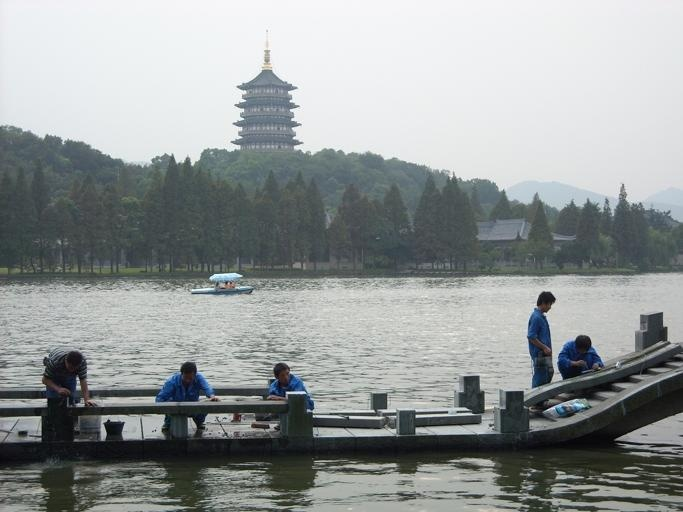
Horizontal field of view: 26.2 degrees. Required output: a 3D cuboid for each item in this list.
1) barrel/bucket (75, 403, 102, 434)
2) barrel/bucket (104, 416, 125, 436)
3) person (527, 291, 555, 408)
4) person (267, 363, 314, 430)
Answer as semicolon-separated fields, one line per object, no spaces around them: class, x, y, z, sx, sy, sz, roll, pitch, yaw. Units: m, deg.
barrel/bucket;-8.356;5.350;48.650;0.963;1.264;0.930;1;-2;0
barrel/bucket;-7.505;5.631;48.431;0.615;0.414;0.654;1;8;0
person;6.794;3.122;49.838;0.907;3.909;1.179;3;8;8
person;-1.806;4.303;48.712;2.019;1.458;0.989;7;10;34
